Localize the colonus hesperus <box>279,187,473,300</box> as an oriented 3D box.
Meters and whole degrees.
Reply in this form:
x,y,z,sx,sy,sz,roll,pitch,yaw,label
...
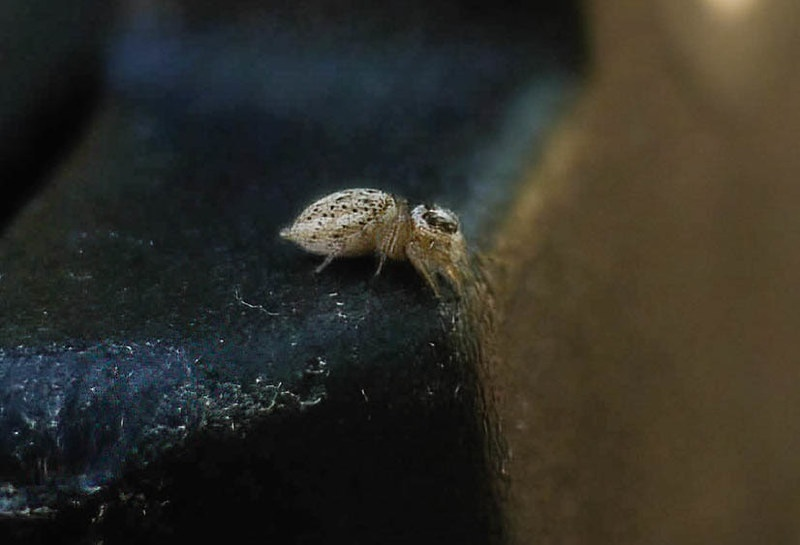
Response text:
x,y,z,sx,sy,sz,roll,pitch,yaw,label
-0.015,-0.039,0.989,0.151,0.088,0.097,11,4,1,colonus hesperus
